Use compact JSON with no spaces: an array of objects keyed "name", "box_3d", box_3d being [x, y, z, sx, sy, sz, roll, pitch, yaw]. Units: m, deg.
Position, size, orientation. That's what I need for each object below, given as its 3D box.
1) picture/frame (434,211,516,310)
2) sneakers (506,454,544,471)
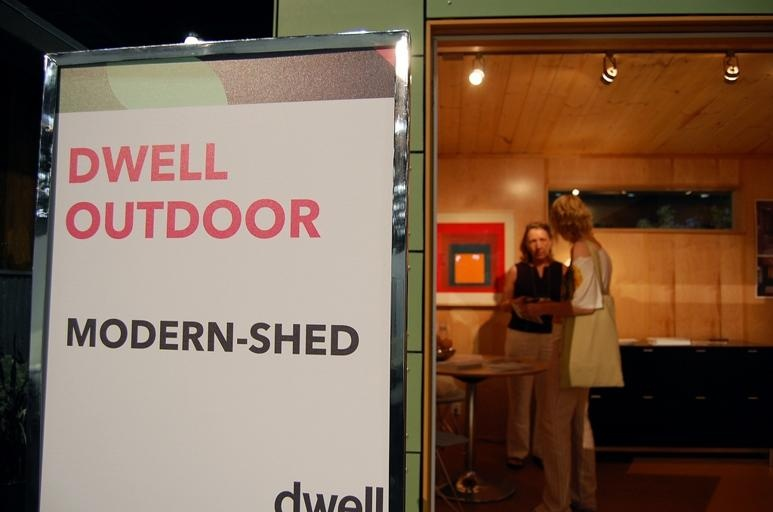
[{"name":"picture/frame","box_3d":[0.548,0.022,4.797,0.589,0.616,0.057,1,2,-8]},{"name":"sneakers","box_3d":[0.864,1.290,4.777,0.236,0.092,0.085,8,-9,-7]}]
